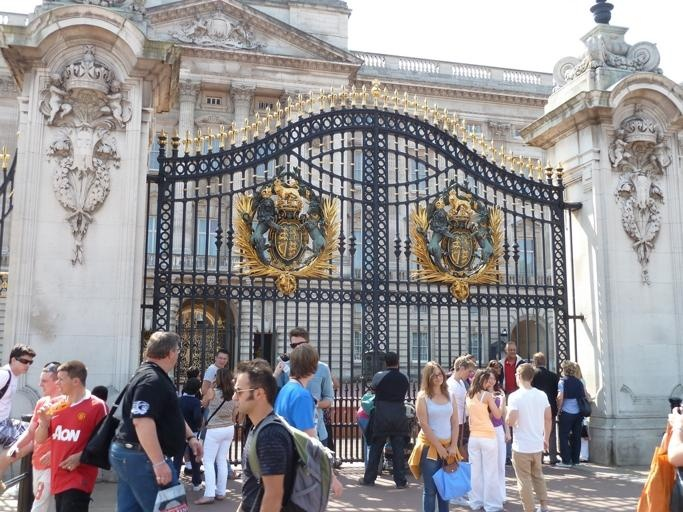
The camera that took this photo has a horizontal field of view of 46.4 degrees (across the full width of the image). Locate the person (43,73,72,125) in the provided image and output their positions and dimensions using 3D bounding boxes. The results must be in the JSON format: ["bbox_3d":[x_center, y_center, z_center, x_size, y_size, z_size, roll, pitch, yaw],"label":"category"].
[{"bbox_3d":[-4.524,-2.480,12.675,0.455,0.807,0.137,3,-8,-13],"label":"person"}]

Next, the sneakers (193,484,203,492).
[{"bbox_3d":[-2.207,3.577,12.348,0.065,0.079,0.172,3,3,37],"label":"sneakers"}]

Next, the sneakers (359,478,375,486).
[{"bbox_3d":[0.414,3.553,12.550,0.228,0.105,0.108,4,0,30],"label":"sneakers"}]

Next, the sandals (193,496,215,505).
[{"bbox_3d":[-1.992,3.542,11.581,0.233,0.102,0.120,7,-7,-3],"label":"sandals"}]

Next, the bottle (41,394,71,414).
[{"bbox_3d":[-3.334,1.749,9.329,0.213,0.069,0.216,-17,8,2],"label":"bottle"}]

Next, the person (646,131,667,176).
[{"bbox_3d":[6.161,-1.944,15.344,0.470,0.790,0.171,5,-9,-26],"label":"person"}]

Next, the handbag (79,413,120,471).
[{"bbox_3d":[-2.732,2.107,9.010,0.296,0.693,0.520,16,-10,4],"label":"handbag"}]

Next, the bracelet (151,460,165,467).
[{"bbox_3d":[-1.971,2.224,8.524,0.188,0.080,0.091,-4,-10,29],"label":"bracelet"}]

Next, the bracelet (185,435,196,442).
[{"bbox_3d":[-1.760,2.116,9.307,0.079,0.063,0.082,2,-6,-12],"label":"bracelet"}]

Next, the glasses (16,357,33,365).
[{"bbox_3d":[-4.221,1.407,10.666,0.082,0.078,0.193,-3,-10,24],"label":"glasses"}]
